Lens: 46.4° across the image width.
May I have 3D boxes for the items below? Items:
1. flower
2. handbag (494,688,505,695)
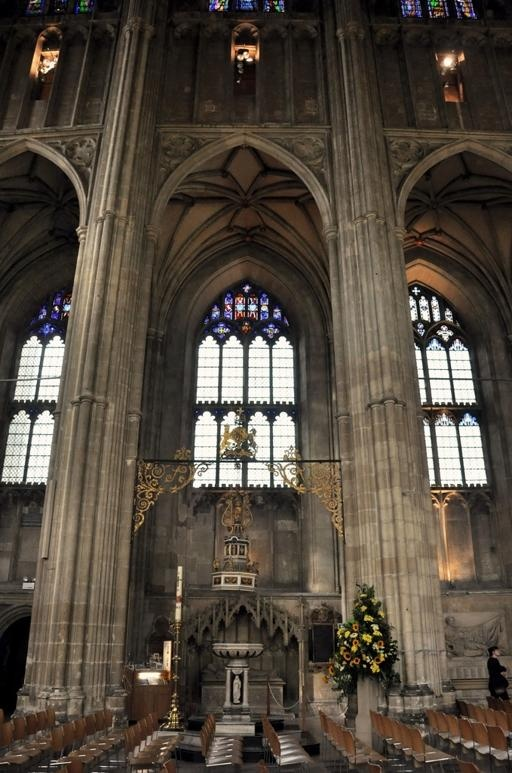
[{"bbox_3d":[1.573,3.644,8.555,0.906,1.476,0.938,0,-22,1],"label":"flower"},{"bbox_3d":[4.035,5.097,9.924,0.141,0.107,0.140,-8,-18,29],"label":"handbag"}]
